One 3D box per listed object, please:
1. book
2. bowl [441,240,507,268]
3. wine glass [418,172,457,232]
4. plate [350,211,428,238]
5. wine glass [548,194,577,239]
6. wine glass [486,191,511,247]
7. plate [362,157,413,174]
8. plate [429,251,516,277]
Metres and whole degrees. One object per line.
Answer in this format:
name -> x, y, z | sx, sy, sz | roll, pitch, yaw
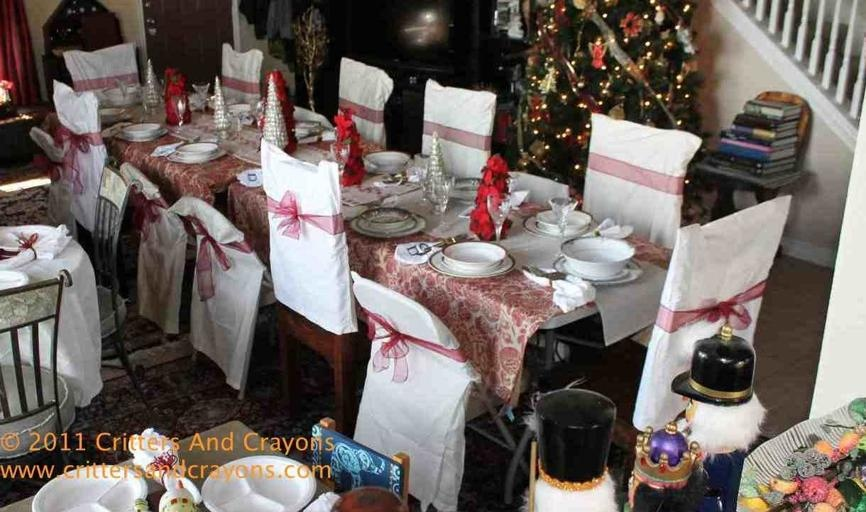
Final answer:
book -> 2.492, -0.891, 4.658 | 0.489, 0.627, 0.230 | 15, -7, 40
bowl -> 0.183, -0.018, 2.791 | 0.164, 0.027, 0.159 | 1, 30, -1
wine glass -> 0.027, -0.342, 3.161 | 0.155, 0.264, 0.385 | 1, 31, 0
plate -> -0.230, -0.167, 3.051 | 0.384, 0.059, 0.227 | 2, 30, 1
wine glass -> 0.629, -0.184, 2.947 | 0.151, 0.192, 0.141 | -11, 32, -6
wine glass -> 0.315, -0.146, 2.896 | 0.123, 0.322, 0.119 | 2, 25, 9
plate -> -0.289, -0.578, 3.805 | 0.178, 0.042, 0.173 | -8, 29, -15
plate -> 0.170, 0.039, 2.729 | 0.383, 0.041, 0.173 | 5, 31, 6
